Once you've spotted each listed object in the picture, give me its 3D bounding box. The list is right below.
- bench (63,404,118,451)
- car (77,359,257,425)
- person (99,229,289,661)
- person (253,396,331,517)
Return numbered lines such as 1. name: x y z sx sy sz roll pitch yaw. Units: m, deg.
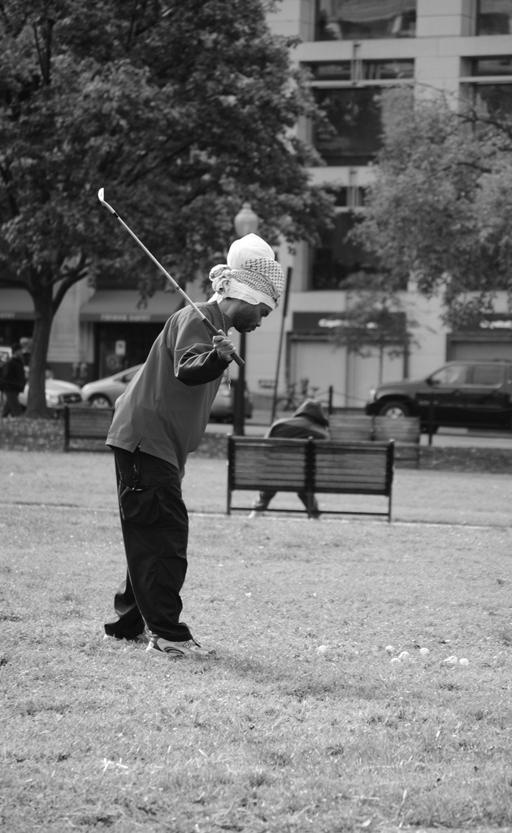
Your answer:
1. bench: -1.664 0.113 17.233 0.407 0.370 0.171 3 12 7
2. car: -1.570 -0.383 28.112 2.263 0.973 1.132 2 1 7
3. person: -0.284 0.116 7.438 0.778 1.826 0.842 1 3 -1
4. person: 0.179 0.250 13.180 0.806 1.177 0.504 2 1 5
